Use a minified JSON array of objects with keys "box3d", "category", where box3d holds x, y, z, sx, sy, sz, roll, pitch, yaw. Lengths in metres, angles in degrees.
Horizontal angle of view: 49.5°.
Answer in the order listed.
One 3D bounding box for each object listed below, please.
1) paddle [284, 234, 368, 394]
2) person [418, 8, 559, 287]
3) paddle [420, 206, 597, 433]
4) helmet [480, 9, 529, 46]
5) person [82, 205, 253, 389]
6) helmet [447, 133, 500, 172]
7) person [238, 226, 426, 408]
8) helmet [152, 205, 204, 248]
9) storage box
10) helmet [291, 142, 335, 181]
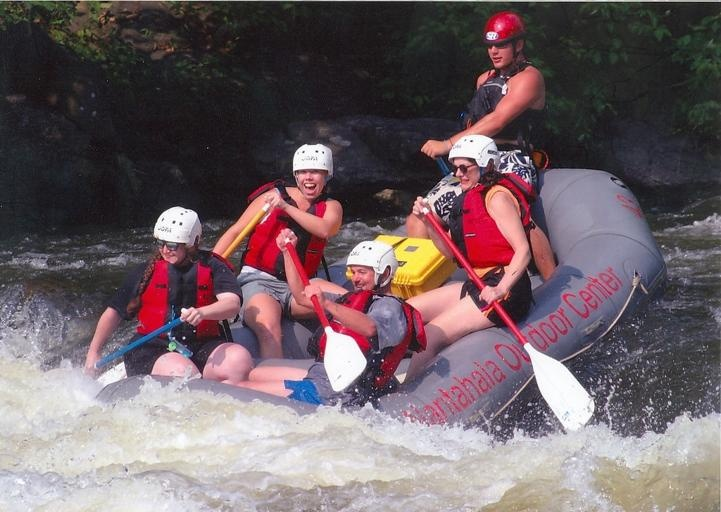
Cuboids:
[{"box3d":[-0.254,0.399,5.280,0.288,1.108,0.061,-32,-32,14],"category":"paddle"},{"box3d":[0.889,-0.820,6.717,1.451,2.365,0.831,1,8,13],"category":"person"},{"box3d":[1.042,0.504,5.587,0.266,1.920,0.070,-32,-11,-22],"category":"paddle"},{"box3d":[1.184,-1.863,6.457,0.305,0.243,0.266,13,-12,-34],"category":"helmet"},{"box3d":[-1.269,0.295,5.531,1.097,1.257,0.850,4,11,17],"category":"person"},{"box3d":[0.816,-0.762,5.760,0.296,0.234,0.243,-33,21,-17],"category":"helmet"},{"box3d":[-0.196,0.431,5.381,1.434,1.125,0.861,5,1,-27],"category":"person"},{"box3d":[-1.277,-0.175,5.569,0.234,0.284,0.310,5,-30,5],"category":"helmet"},{"box3d":[0.427,0.075,6.202,0.494,0.258,0.651,3,18,32],"category":"storage box"},{"box3d":[-0.375,-0.757,6.119,0.216,0.296,0.268,1,19,5],"category":"helmet"}]
